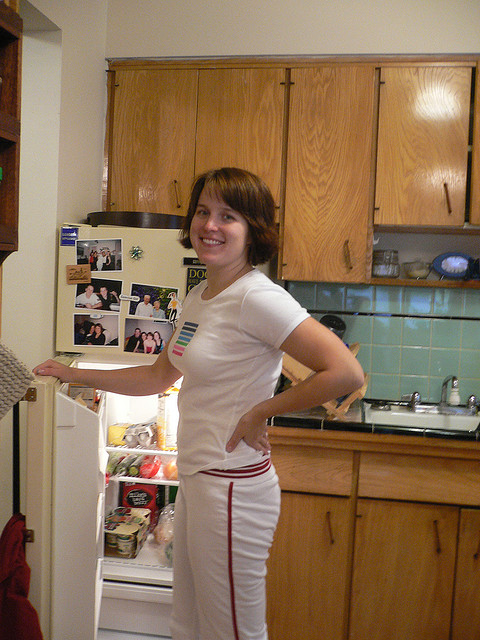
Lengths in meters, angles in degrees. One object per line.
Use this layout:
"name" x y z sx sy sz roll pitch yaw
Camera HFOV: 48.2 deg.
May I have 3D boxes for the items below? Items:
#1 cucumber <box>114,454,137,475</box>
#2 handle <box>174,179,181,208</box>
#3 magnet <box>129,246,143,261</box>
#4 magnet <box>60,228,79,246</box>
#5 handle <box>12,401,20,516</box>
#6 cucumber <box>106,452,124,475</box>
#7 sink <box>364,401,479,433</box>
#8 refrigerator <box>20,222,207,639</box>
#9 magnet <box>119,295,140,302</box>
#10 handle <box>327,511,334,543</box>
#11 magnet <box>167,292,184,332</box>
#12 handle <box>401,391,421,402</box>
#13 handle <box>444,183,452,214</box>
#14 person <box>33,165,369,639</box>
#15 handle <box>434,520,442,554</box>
"cucumber" -0.421 0.525 1.954 0.023 0.033 0.121 19 12 0
"handle" -0.269 -0.532 2.270 0.024 0.115 0.006 2 0 -8
"magnet" -0.374 -0.239 1.915 0.041 0.046 0.019 5 -9 -2
"magnet" -0.625 -0.295 1.959 0.058 0.064 0.059 -1 -8 -35
"handle" -0.546 0.333 1.300 0.023 0.248 0.033 -2 -12 -13
"cucumber" -0.457 0.513 1.942 0.026 0.027 0.088 17 29 4
"sink" 0.734 0.397 2.228 0.496 0.117 0.257 2 1 -5
"refrigerator" -0.413 0.360 1.697 0.439 1.458 0.596 2 6 1
"magnet" -0.398 -0.080 1.924 0.064 0.021 0.008 8 8 6
"handle" 0.312 0.717 1.852 0.012 0.093 0.018 -4 -1 42
"magnet" -0.233 -0.035 1.926 0.063 0.153 0.013 2 36 -5
"handle" 0.741 0.327 2.318 0.078 0.059 0.043 4 2 16
"handle" 0.814 -0.472 2.090 0.037 0.122 0.021 1 0 -37
"person" -0.084 0.203 1.213 0.719 0.980 0.260 2 0 43
"handle" 0.665 0.725 1.801 0.023 0.116 0.005 2 0 -7
